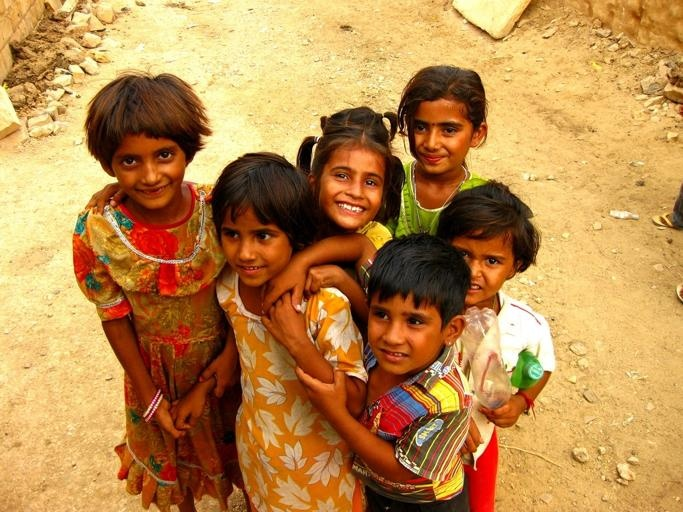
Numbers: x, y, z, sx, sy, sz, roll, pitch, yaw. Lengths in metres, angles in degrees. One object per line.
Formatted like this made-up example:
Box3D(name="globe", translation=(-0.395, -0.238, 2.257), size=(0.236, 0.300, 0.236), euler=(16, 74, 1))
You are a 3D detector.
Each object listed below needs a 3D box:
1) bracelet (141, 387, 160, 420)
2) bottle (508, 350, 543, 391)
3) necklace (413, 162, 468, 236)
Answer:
Box3D(name="bracelet", translation=(-0.842, 0.620, 2.465), size=(0.025, 0.106, 0.109), euler=(34, 38, -5))
Box3D(name="bottle", translation=(0.809, 0.499, 2.538), size=(0.184, 0.114, 0.182), euler=(-16, 16, 5))
Box3D(name="necklace", translation=(0.512, -0.294, 3.000), size=(0.263, 0.357, 0.097), euler=(8, 7, 0))
